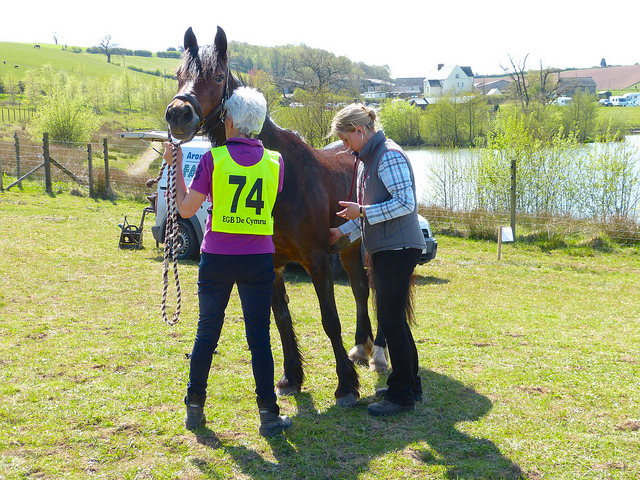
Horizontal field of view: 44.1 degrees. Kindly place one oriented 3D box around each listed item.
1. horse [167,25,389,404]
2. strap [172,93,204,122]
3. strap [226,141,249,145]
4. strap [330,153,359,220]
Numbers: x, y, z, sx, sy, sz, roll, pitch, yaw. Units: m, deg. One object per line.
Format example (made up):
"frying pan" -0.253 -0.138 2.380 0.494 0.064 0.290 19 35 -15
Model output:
"horse" -0.190 -0.021 11.337 1.355 4.612 6.024 -7 -5 25
"strap" -1.671 -1.689 10.041 0.384 0.355 0.160 0 8 -10
"strap" -1.019 -1.193 9.711 0.247 0.047 0.041 1 9 -7
"strap" 0.453 -0.809 10.887 0.195 0.197 1.471 -12 43 26
